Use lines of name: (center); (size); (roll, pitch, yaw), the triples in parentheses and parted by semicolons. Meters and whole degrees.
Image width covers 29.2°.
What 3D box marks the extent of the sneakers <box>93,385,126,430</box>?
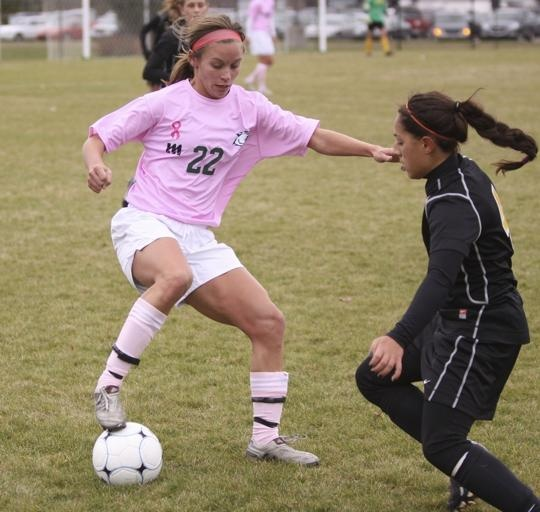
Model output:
sneakers: (-0.745, 0.695, 4.845); (0.136, 0.190, 0.070); (0, 14, -9)

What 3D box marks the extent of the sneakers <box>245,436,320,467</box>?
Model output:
sneakers: (0.049, 0.963, 5.207); (0.399, 0.141, 0.128); (3, -1, 6)

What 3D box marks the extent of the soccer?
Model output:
soccer: (-0.649, 0.921, 4.939); (0.341, 0.304, 0.295); (-2, 1, -3)
